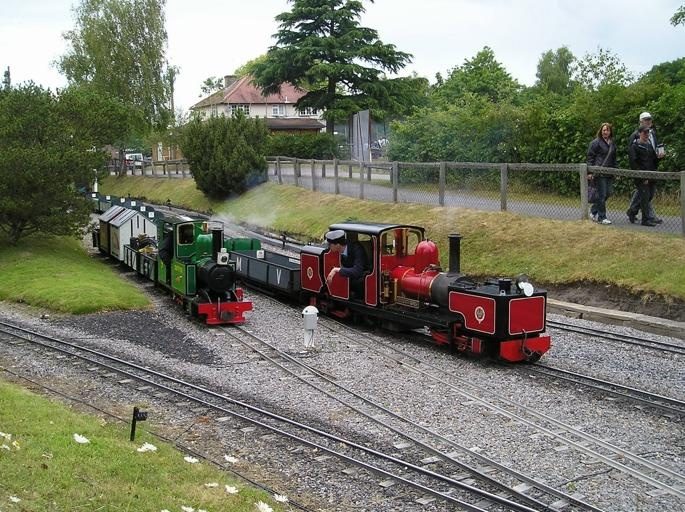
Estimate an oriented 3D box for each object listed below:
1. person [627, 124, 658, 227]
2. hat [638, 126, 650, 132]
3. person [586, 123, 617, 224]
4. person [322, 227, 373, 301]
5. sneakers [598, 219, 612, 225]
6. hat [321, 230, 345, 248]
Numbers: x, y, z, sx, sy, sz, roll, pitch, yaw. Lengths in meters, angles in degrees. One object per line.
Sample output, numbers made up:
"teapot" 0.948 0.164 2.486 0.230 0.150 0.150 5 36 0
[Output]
"person" 9.266 -2.463 19.981 0.830 3.057 1.173 1 13 12
"hat" 9.132 -3.868 19.698 0.300 0.186 0.320 3 14 20
"person" 8.281 -2.646 20.890 0.797 3.205 1.065 8 16 37
"person" 0.123 0.262 17.453 1.181 1.939 0.836 5 14 29
"sneakers" 8.566 -1.124 21.153 0.358 0.161 0.148 5 9 36
"hat" -0.232 -0.476 17.325 0.383 0.309 0.489 -21 34 -28
